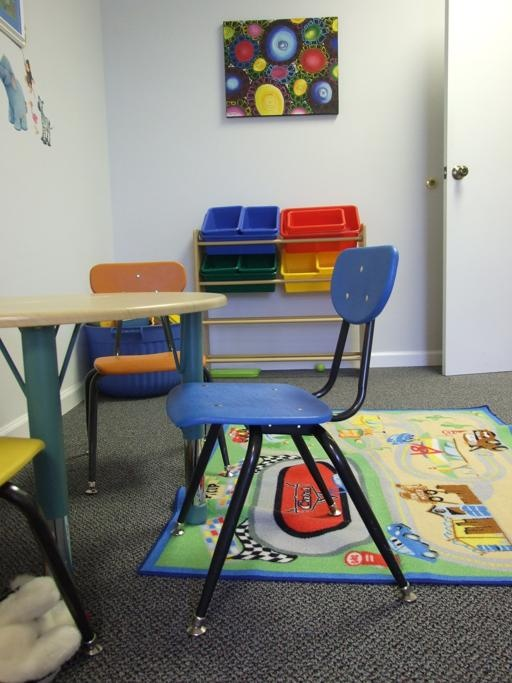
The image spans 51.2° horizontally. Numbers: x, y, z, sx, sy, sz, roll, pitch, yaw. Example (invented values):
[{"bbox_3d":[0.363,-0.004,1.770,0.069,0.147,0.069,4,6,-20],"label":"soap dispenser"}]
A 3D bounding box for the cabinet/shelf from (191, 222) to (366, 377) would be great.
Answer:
[{"bbox_3d":[0.112,-0.243,2.673,0.877,0.811,0.311,-1,1,1],"label":"cabinet/shelf"}]

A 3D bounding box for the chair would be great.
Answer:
[{"bbox_3d":[-0.166,0.095,1.405,0.754,1.072,0.677,0,10,-18],"label":"chair"}]

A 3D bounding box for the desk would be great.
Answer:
[{"bbox_3d":[-0.248,0.198,1.096,0.396,0.579,0.557,-3,9,-3],"label":"desk"}]
